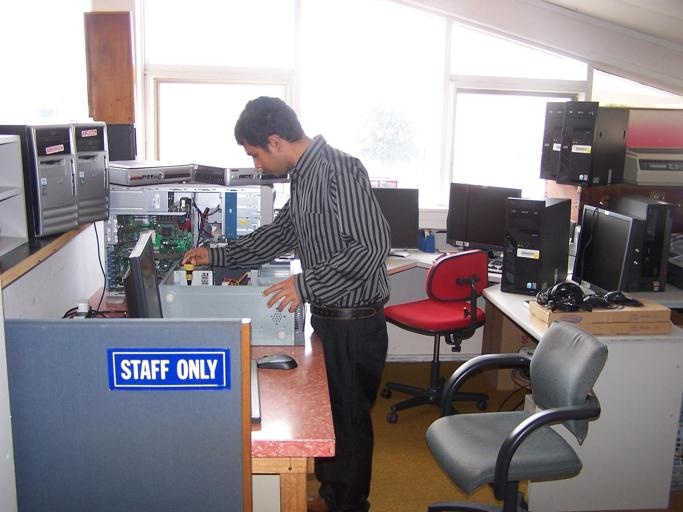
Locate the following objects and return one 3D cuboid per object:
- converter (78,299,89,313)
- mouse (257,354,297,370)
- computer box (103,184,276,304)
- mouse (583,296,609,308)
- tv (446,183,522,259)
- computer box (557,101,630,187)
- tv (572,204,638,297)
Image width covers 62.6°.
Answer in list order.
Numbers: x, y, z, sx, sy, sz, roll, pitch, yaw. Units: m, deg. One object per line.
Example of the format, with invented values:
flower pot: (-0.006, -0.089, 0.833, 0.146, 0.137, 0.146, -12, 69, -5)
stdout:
converter: (-1.039, 0.203, 2.259, 0.038, 0.038, 0.054, 0, 13, -8)
mouse: (-0.260, 0.414, 2.194, 0.108, 0.037, 0.066, 3, 1, 0)
computer box: (-0.793, 0.061, 2.907, 0.881, 0.616, 0.491, 0, 8, -7)
mouse: (1.274, 0.239, 2.838, 0.168, 0.035, 0.108, -7, 12, -31)
tv: (1.069, -0.273, 4.177, 0.203, 0.491, 0.520, 4, 4, -41)
computer box: (1.717, -0.754, 3.787, 0.353, 0.530, 0.297, -4, 14, -23)
tv: (1.551, -0.017, 3.287, 0.153, 0.456, 0.449, -8, 14, -15)
